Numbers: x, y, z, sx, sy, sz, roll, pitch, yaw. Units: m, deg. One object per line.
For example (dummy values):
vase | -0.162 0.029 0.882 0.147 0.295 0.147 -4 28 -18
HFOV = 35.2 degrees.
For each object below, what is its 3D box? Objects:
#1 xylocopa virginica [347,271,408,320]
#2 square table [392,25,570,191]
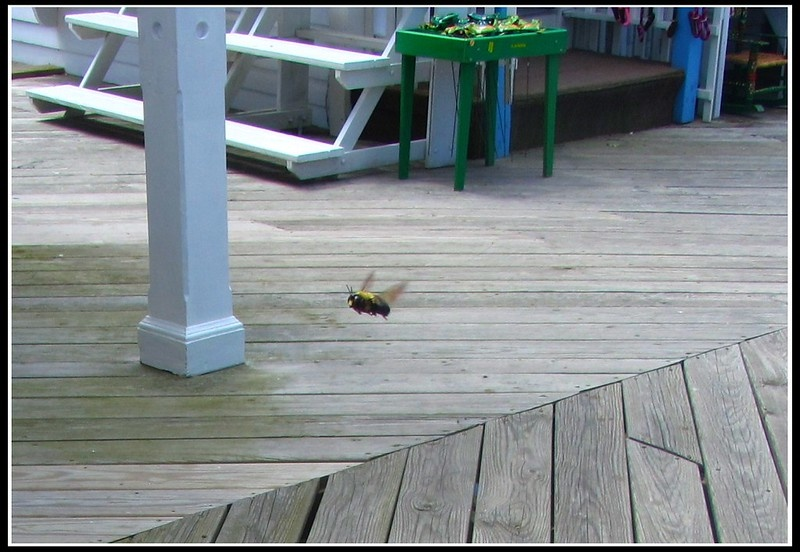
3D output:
xylocopa virginica | -0.096 0.080 5.041 0.163 0.116 0.227 5 -3 -34
square table | 0.412 -0.885 6.755 0.928 0.751 0.666 -18 30 -37
